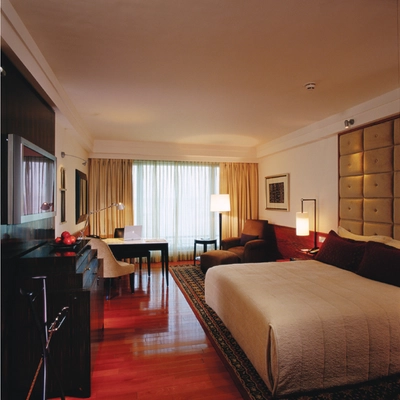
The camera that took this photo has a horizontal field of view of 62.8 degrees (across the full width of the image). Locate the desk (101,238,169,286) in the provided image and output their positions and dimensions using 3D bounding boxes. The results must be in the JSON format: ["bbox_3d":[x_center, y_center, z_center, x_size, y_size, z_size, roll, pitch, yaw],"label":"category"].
[{"bbox_3d":[-0.990,1.119,5.124,0.865,0.566,0.636,1,-8,-16],"label":"desk"}]

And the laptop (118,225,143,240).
[{"bbox_3d":[-1.110,0.517,5.325,0.254,0.223,0.196,1,0,-27],"label":"laptop"}]

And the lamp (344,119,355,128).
[{"bbox_3d":[1.900,-0.994,4.209,0.094,0.110,0.202,0,2,-6],"label":"lamp"}]

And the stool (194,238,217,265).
[{"bbox_3d":[0.107,0.984,6.345,0.400,0.577,0.463,0,-7,0],"label":"stool"}]

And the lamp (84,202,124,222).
[{"bbox_3d":[-1.701,0.216,5.858,0.688,0.350,1.259,-1,2,-14],"label":"lamp"}]

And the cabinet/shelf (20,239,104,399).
[{"bbox_3d":[-0.990,0.860,2.305,0.325,0.938,0.939,-2,2,-14],"label":"cabinet/shelf"}]

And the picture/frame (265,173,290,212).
[{"bbox_3d":[1.582,-0.134,6.518,0.209,0.721,0.704,-1,0,-26],"label":"picture/frame"}]
